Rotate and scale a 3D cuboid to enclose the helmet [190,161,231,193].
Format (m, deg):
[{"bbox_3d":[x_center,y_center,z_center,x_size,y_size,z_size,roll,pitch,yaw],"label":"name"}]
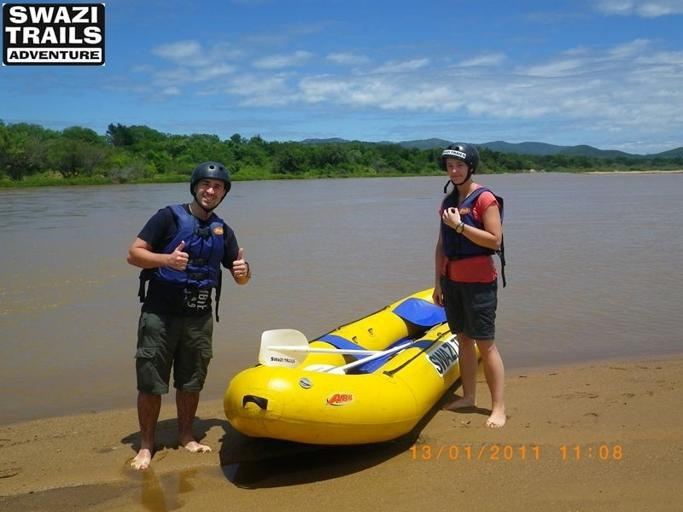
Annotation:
[{"bbox_3d":[-1.193,-0.760,5.241,0.280,0.265,0.354,2,-12,-7],"label":"helmet"}]

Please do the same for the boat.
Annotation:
[{"bbox_3d":[0.285,1.128,5.979,1.212,0.667,2.848,2,7,26],"label":"boat"}]

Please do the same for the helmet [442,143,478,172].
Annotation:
[{"bbox_3d":[1.172,-0.960,5.538,0.386,0.283,0.429,-1,10,-3],"label":"helmet"}]

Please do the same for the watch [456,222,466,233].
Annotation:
[{"bbox_3d":[1.129,-0.272,5.413,0.074,0.096,0.036,5,-28,22],"label":"watch"}]

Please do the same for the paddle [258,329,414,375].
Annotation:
[{"bbox_3d":[-0.228,0.933,5.567,1.010,0.203,0.641,1,2,5],"label":"paddle"}]

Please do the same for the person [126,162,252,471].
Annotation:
[{"bbox_3d":[-1.443,0.514,5.216,1.078,2.706,0.722,-3,11,-8],"label":"person"}]
